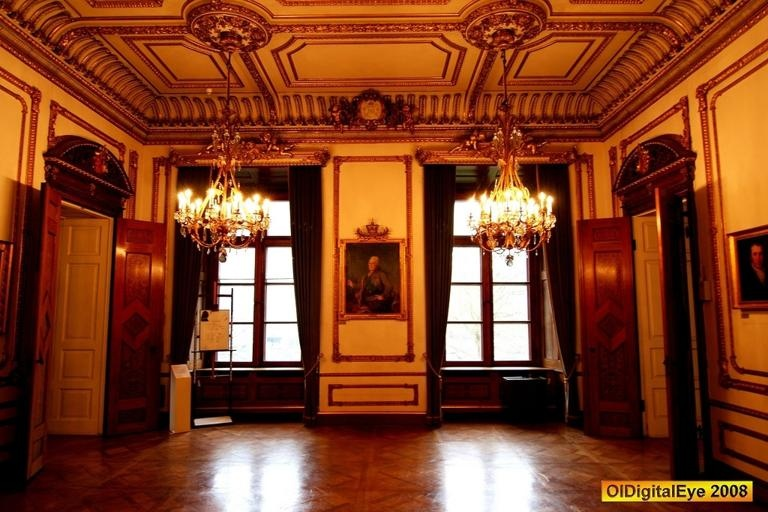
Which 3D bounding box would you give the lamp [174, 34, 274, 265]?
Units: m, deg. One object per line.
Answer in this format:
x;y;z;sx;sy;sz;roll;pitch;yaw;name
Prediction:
-2.190;-1.522;7.883;1.243;3.091;1.167;2;1;-18;lamp
